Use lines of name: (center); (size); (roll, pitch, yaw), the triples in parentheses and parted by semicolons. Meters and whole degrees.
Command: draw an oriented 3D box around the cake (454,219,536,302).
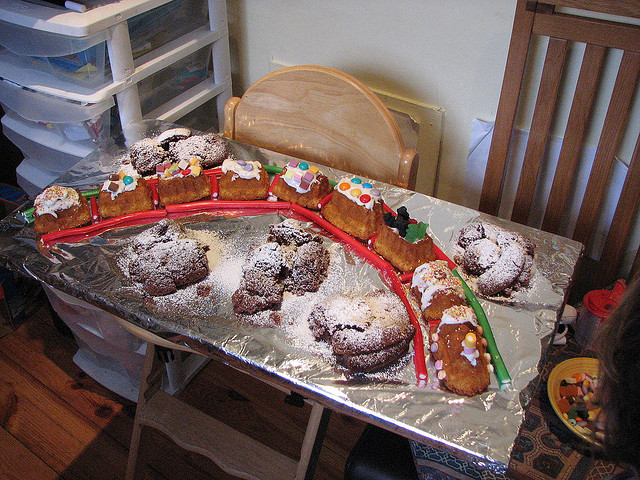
cake: (0.480, 0.045, 1.291); (0.203, 0.049, 0.246); (17, 53, 15)

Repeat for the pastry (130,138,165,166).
pastry: (-0.580, -0.288, 1.614); (0.102, 0.034, 0.090); (-39, 43, -24)

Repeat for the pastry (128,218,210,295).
pastry: (-0.425, 0.033, 1.278); (0.192, 0.058, 0.199); (-29, 62, -18)

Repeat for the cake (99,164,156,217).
cake: (-0.603, -0.144, 1.476); (0.135, 0.086, 0.140); (-12, 57, -11)

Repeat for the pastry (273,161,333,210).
pastry: (-0.062, -0.169, 1.460); (0.158, 0.101, 0.140); (21, 60, 15)

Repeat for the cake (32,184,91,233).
cake: (-0.777, -0.082, 1.413); (0.142, 0.090, 0.147); (-8, 46, -15)

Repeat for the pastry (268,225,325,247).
pastry: (-0.068, -0.017, 1.344); (0.084, 0.026, 0.086); (-5, 26, -15)

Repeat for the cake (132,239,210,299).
cake: (-0.398, 0.072, 1.261); (0.160, 0.048, 0.161); (-18, 50, -19)

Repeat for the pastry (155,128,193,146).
pastry: (-0.514, -0.367, 1.634); (0.080, 0.023, 0.082); (-9, 39, -22)

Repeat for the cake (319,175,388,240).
cake: (0.096, -0.091, 1.388); (0.181, 0.109, 0.186); (27, 55, 17)

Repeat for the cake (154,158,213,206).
cake: (-0.434, -0.186, 1.484); (0.148, 0.094, 0.154); (-13, 49, -15)

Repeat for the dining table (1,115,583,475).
dining table: (-0.066, 0.146, 1.425); (1.086, 0.784, 0.597); (24, 55, 9)

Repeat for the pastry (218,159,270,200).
pastry: (-0.241, -0.177, 1.547); (0.180, 0.100, 0.183); (-1, 6, -21)

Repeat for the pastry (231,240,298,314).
pastry: (-0.144, 0.090, 1.233); (0.128, 0.053, 0.200); (7, 60, 3)

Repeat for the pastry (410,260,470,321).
pastry: (0.294, 0.126, 1.222); (0.135, 0.095, 0.138); (-16, 51, -5)

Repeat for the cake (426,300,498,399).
cake: (0.322, 0.253, 1.125); (0.133, 0.071, 0.237); (-6, 44, 4)
